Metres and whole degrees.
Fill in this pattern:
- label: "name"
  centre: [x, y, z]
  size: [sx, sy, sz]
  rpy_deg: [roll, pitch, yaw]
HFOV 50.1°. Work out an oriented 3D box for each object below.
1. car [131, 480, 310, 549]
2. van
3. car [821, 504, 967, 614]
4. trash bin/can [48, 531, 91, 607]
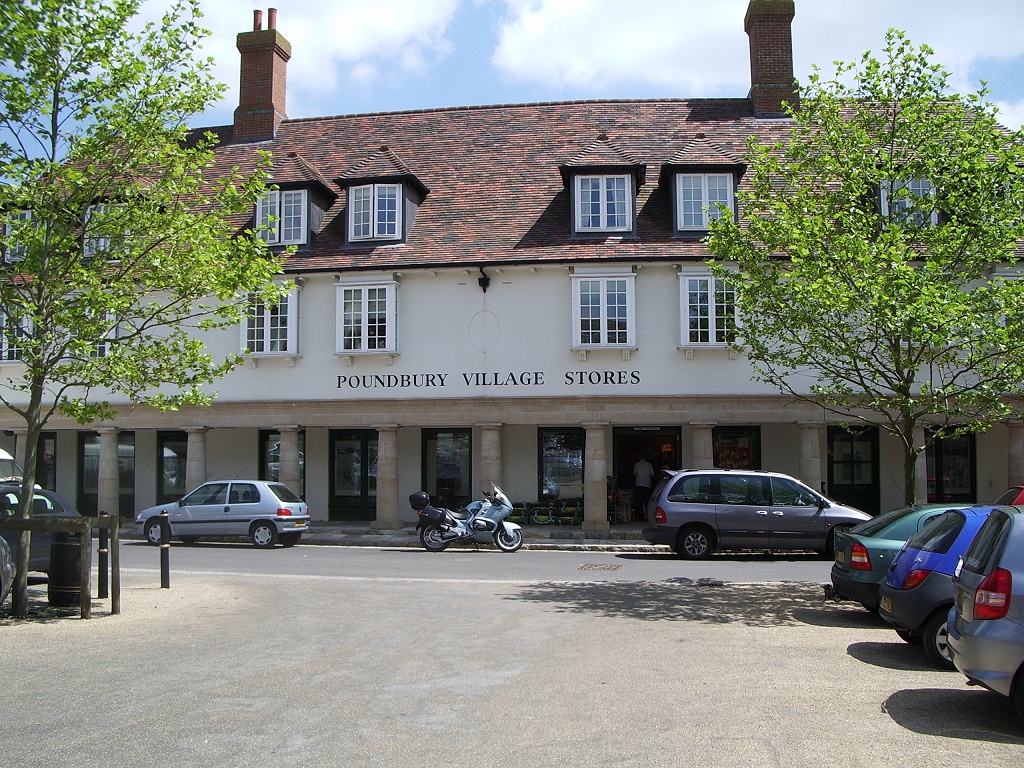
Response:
- label: "car"
  centre: [-6.928, 3.158, 26.680]
  size: [3.767, 1.399, 1.847]
  rpy_deg: [2, -4, 9]
- label: "van"
  centre: [5.176, 2.782, 23.596]
  size: [4.315, 1.551, 1.982]
  rpy_deg: [-1, -2, 3]
- label: "car"
  centre: [5.495, 2.396, 15.481]
  size: [1.988, 0.870, 1.136]
  rpy_deg: [-3, -3, 0]
- label: "trash bin/can"
  centre: [-6.756, 2.838, 16.570]
  size: [0.421, 1.150, 0.211]
  rpy_deg: [-1, -5, -19]
